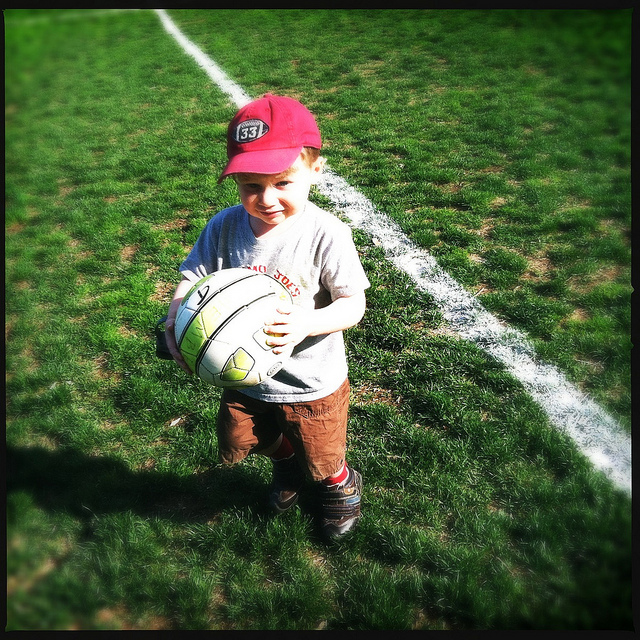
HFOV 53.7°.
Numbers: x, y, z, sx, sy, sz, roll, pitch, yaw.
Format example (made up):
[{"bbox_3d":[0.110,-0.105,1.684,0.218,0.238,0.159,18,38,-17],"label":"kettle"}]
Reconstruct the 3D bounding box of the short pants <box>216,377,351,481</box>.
[{"bbox_3d":[-0.209,0.641,3.493,0.686,0.664,0.299,4,34,7],"label":"short pants"}]
